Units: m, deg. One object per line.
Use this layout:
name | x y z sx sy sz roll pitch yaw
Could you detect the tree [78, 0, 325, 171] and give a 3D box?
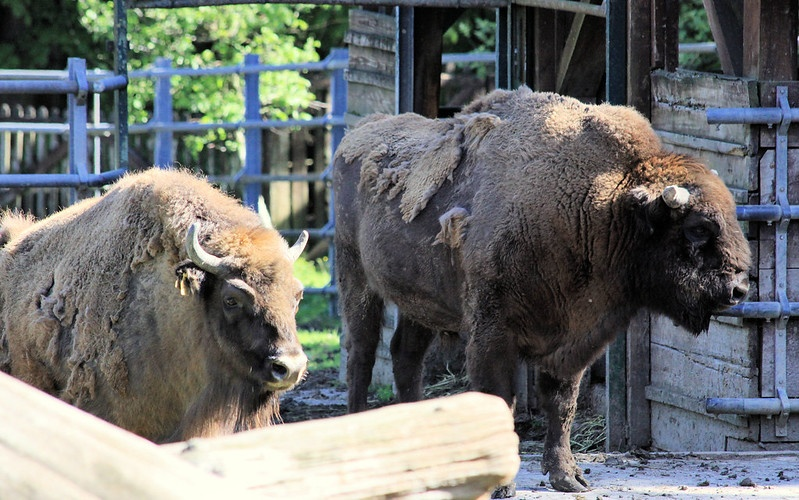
tree | -2.475 -2.145 21.472 2.428 2.537 1.554 0 15 -2
